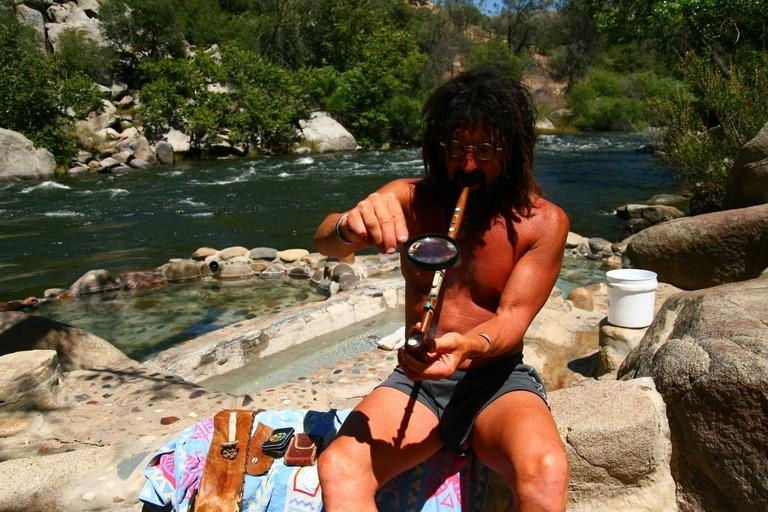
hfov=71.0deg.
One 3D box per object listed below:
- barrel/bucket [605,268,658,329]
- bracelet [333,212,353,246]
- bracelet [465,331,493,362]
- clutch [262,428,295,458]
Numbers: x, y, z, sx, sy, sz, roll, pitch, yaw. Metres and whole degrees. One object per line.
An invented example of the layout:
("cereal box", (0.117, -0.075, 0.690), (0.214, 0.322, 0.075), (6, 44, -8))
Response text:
("barrel/bucket", (2.584, 0.425, 5.697), (0.636, 0.516, 0.608), (-4, 6, 0))
("bracelet", (-0.301, -0.200, 3.683), (0.172, 0.182, 0.076), (18, 19, 38))
("bracelet", (0.609, 0.558, 3.364), (0.184, 0.121, 0.134), (-16, 34, 4))
("clutch", (-0.789, 1.395, 4.036), (0.175, 0.155, 0.206), (8, 22, 24))
